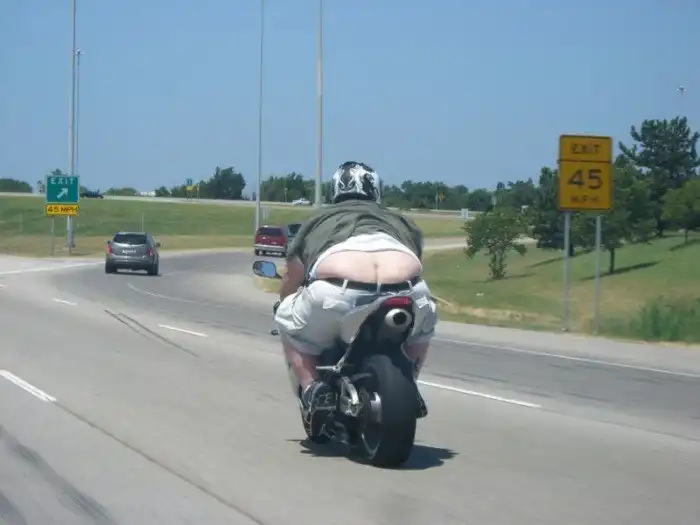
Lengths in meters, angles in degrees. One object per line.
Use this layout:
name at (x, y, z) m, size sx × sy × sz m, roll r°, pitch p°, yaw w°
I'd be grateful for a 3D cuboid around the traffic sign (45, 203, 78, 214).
traffic sign at (-17.688, -3.180, 45.133) m, size 1.684 × 0.795 × 1.781 m, roll 0°, pitch 3°, yaw -30°

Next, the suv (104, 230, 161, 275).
suv at (-9.360, -0.415, 32.651) m, size 1.426 × 1.171 × 2.517 m, roll 1°, pitch 9°, yaw -4°

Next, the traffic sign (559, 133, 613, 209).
traffic sign at (5.603, -2.096, 17.650) m, size 1.342 × 1.735 × 0.295 m, roll 1°, pitch 3°, yaw -7°
